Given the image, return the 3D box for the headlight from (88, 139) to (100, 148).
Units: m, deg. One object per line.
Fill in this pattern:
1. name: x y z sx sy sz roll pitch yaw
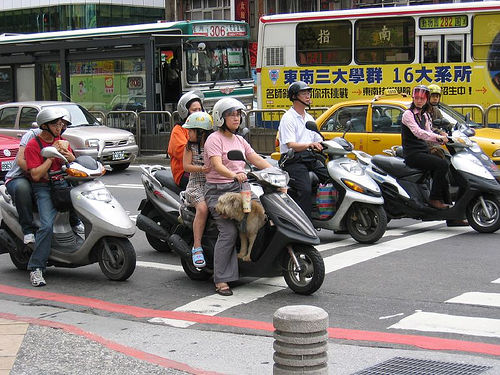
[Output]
1. headlight: -4.503 -1.264 15.824 0.202 0.247 0.089 2 2 -5

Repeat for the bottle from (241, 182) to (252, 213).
1. bottle: -0.035 0.115 5.928 0.114 0.319 0.209 -2 5 -1

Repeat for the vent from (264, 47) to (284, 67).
1. vent: 0.902 -4.659 19.714 0.739 0.632 0.066 3 5 28

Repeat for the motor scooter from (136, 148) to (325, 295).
1. motor scooter: -0.335 0.332 6.652 1.135 1.611 2.724 -5 6 -30

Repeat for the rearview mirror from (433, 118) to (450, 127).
1. rearview mirror: 3.143 -1.052 9.001 0.188 0.135 0.409 -2 6 -2

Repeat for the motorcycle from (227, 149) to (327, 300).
1. motorcycle: 0.404 0.337 6.483 0.993 1.606 1.713 -1 6 6

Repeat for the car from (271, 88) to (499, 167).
1. car: 3.643 -1.358 11.987 4.214 1.631 2.145 0 6 29

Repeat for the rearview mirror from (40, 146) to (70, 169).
1. rearview mirror: -2.249 -0.349 6.327 0.286 0.100 0.173 21 22 -9

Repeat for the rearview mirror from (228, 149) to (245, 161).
1. rearview mirror: -0.129 -0.336 5.686 0.210 0.111 0.139 -4 6 -21

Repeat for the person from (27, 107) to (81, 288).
1. person: -2.452 0.099 6.727 0.609 2.144 1.020 -4 6 -23

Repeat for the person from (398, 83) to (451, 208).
1. person: 2.874 -0.661 8.988 0.766 1.944 0.680 0 6 18

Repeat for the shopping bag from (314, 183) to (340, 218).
1. shopping bag: 1.253 0.238 8.653 0.320 0.529 0.420 5 10 42

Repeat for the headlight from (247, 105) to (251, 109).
1. headlight: -0.025 -3.363 23.032 0.281 0.152 0.153 -1 37 -3

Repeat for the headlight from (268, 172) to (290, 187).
1. headlight: 0.330 -0.079 5.956 0.249 0.139 0.067 -5 6 -30

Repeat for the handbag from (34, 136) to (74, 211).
1. handbag: -2.276 -0.195 6.736 0.557 0.909 0.454 -2 2 43

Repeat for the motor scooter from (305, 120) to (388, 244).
1. motor scooter: 1.229 -0.109 8.941 0.928 1.775 2.209 -5 7 -41

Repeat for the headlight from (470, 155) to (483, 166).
1. headlight: 3.658 -0.432 8.860 0.179 0.047 0.128 33 13 16

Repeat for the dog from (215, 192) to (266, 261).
1. dog: -0.096 0.432 5.992 0.541 0.751 0.242 -1 5 5
